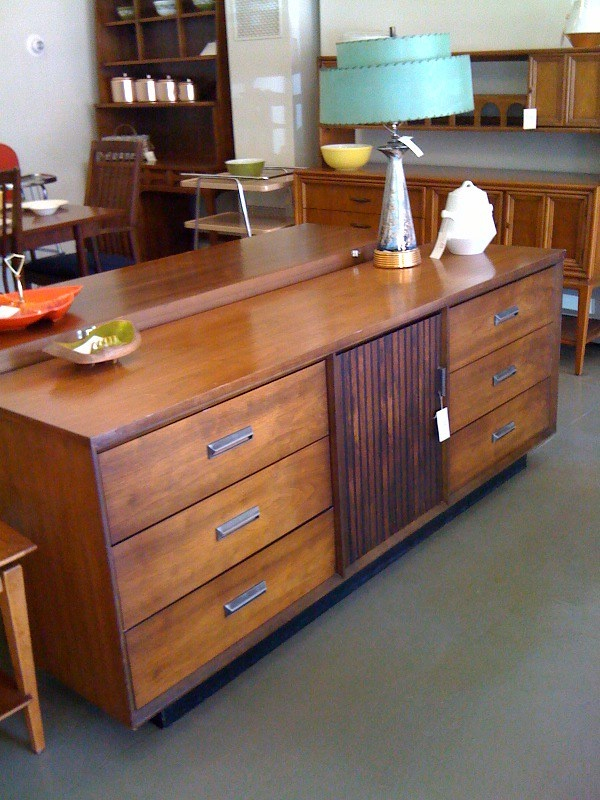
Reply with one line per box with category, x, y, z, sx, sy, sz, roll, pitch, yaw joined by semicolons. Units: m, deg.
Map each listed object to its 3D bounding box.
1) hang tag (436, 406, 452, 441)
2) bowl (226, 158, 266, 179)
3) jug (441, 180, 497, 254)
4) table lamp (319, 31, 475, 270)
hang tag;0.390;0.062;1.731;0.011;0.097;0.074;11;25;40
bowl;-0.349;-1.478;4.061;0.223;0.106;0.160;-2;23;9
jug;0.545;-0.597;2.076;0.189;0.224;0.169;-24;27;-39
table lamp;0.303;-0.789;2.049;0.489;0.701;0.481;6;23;24
